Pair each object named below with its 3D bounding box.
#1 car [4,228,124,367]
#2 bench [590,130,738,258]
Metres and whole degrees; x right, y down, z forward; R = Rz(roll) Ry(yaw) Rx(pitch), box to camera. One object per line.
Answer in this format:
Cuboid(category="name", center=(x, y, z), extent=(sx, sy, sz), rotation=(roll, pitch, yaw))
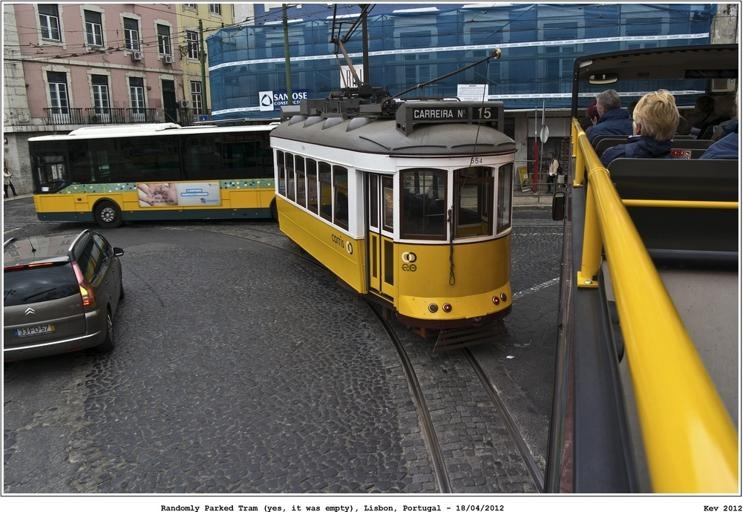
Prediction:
Cuboid(category="car", center=(-5.629, 0.639, 9.775), extent=(1.810, 1.203, 2.891), rotation=(-4, 19, -20))
Cuboid(category="bench", center=(1.759, -0.284, 3.108), extent=(0.624, 0.388, 0.635), rotation=(1, 1, 6))
